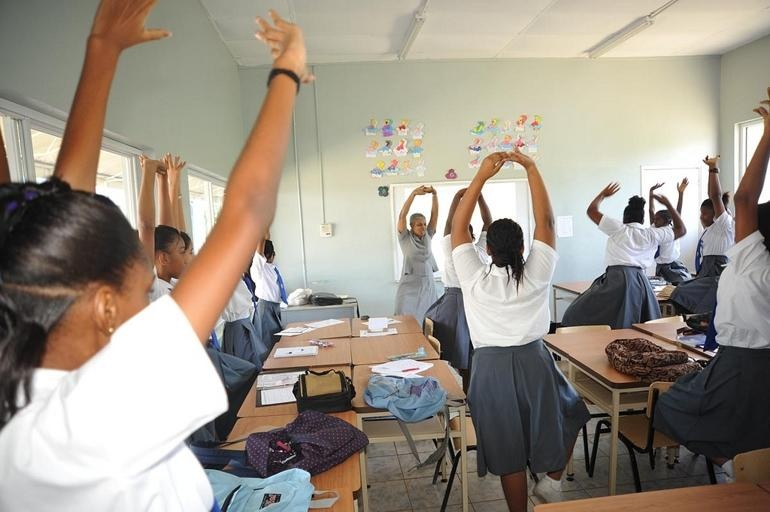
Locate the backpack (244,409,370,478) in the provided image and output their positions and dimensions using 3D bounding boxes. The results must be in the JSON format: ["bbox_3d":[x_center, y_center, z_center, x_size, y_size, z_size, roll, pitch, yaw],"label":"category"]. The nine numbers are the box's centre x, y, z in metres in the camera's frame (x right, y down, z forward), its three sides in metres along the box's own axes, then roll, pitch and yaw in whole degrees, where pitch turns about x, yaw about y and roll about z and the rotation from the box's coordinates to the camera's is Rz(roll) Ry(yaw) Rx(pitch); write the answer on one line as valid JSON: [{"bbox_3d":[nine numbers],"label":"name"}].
[{"bbox_3d":[-0.367,0.884,2.316,0.350,0.115,0.281,-9,10,-42],"label":"backpack"}]

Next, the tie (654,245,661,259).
[{"bbox_3d":[3.321,-0.067,6.037,0.035,0.145,0.086,12,8,-1],"label":"tie"}]

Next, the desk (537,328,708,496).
[{"bbox_3d":[1.631,0.776,3.459,0.833,0.721,1.447,-1,6,-6],"label":"desk"}]

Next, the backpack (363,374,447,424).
[{"bbox_3d":[0.106,0.803,2.954,0.424,0.177,0.409,-4,21,-45],"label":"backpack"}]

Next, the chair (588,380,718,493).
[{"bbox_3d":[1.485,1.134,3.190,0.591,0.649,0.566,3,-2,-10],"label":"chair"}]

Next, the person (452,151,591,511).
[{"bbox_3d":[0.751,0.328,2.807,0.729,1.809,0.373,0,5,16],"label":"person"}]
